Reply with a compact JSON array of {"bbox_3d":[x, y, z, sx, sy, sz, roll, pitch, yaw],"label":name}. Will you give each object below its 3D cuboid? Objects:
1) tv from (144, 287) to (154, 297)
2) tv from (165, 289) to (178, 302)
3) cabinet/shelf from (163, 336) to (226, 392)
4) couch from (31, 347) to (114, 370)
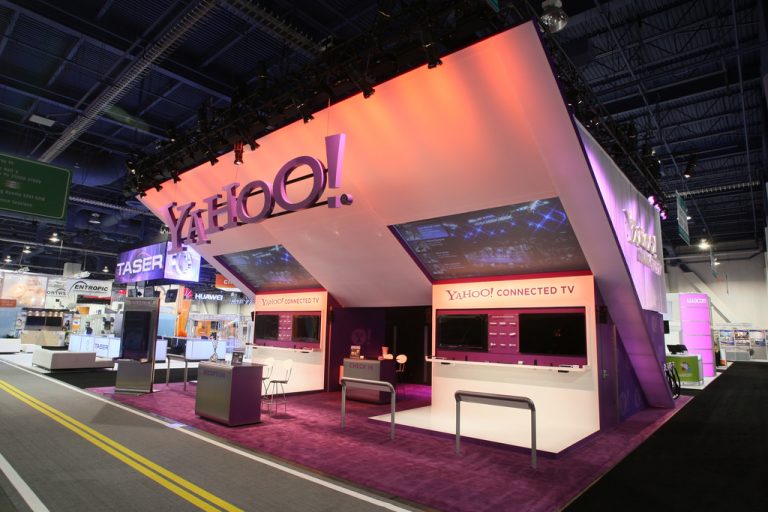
[{"bbox_3d":[-12.804,1.896,24.101,0.371,0.521,1.596,8,-13,-41],"label":"tv"},{"bbox_3d":[-11.259,2.047,23.313,0.249,0.725,1.248,9,-14,-42],"label":"tv"},{"bbox_3d":[-8.335,4.704,19.773,1.364,1.412,2.128,-3,-11,33],"label":"cabinet/shelf"},{"bbox_3d":[-11.528,3.854,16.474,1.735,0.778,2.116,-8,-12,37],"label":"couch"}]
